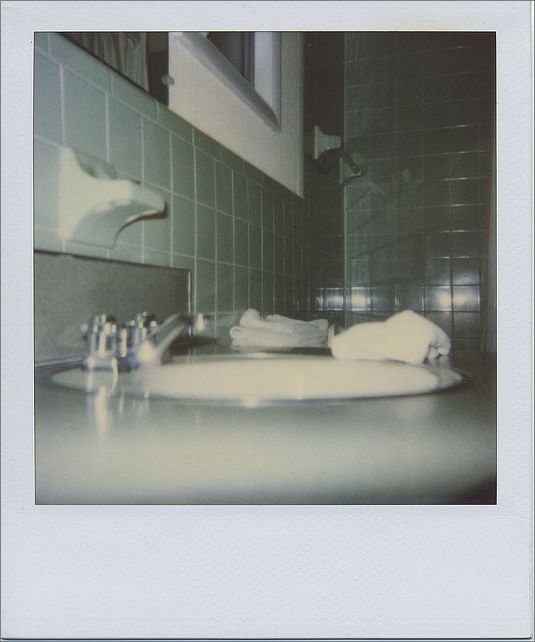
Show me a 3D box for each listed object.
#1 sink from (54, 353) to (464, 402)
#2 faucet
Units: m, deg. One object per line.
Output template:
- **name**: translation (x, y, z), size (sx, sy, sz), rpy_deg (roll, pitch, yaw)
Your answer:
- **sink**: translation (-0.017, 0.107, 1.204), size (0.755, 0.079, 0.180), rpy_deg (-2, 3, 5)
- **faucet**: translation (-0.191, 0.010, 1.288), size (0.097, 0.062, 0.241), rpy_deg (-16, 6, 25)
